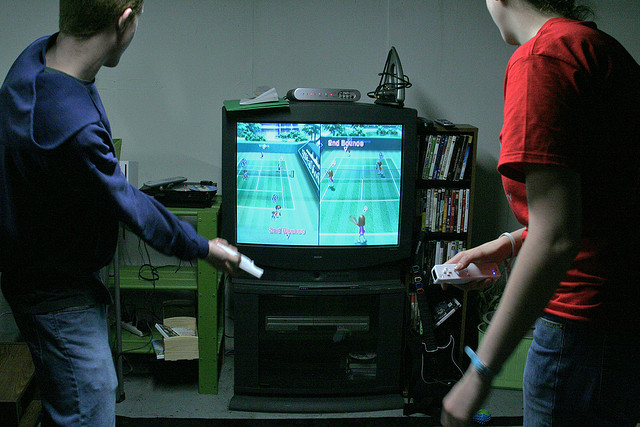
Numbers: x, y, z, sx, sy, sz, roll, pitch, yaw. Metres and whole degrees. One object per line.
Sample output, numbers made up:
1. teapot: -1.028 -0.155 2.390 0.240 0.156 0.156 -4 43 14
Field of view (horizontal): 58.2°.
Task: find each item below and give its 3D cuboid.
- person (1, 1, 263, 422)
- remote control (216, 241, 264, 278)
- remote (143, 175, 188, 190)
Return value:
1. person: -0.876 0.038 2.267 0.760 1.672 0.320 -2 10 -12
2. remote control: -0.382 0.213 2.771 0.295 0.108 0.074 40 -4 -16
3. remote: -0.935 -0.195 3.537 0.200 0.048 0.122 -16 18 -33
